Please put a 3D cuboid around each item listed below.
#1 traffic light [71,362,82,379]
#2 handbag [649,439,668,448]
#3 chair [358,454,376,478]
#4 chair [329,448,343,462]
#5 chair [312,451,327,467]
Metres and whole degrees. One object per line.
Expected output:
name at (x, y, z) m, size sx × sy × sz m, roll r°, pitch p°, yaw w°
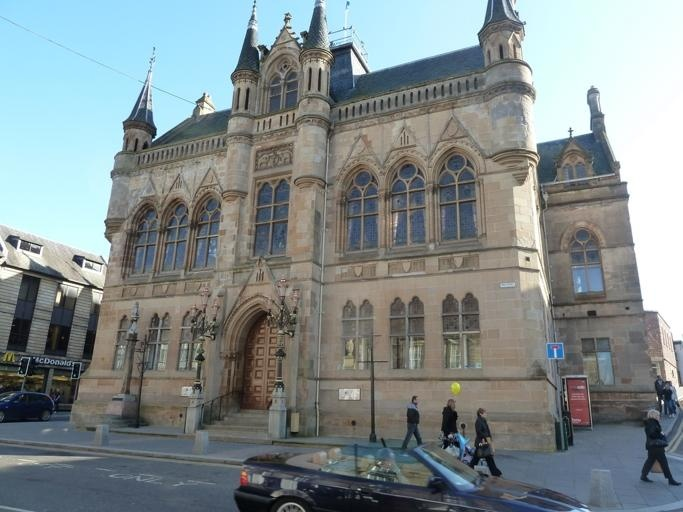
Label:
traffic light at (-25.965, 11.308, 45.056) m, size 0.645 × 1.736 × 1.431 m, roll 15°, pitch -14°, yaw -42°
handbag at (8.326, 4.899, 12.083) m, size 0.319 × 0.122 × 0.251 m, roll 2°, pitch -7°, yaw -30°
chair at (0.440, 3.636, 7.935) m, size 0.251 × 0.313 × 0.287 m, roll 0°, pitch -39°, yaw 4°
chair at (-0.100, 3.568, 8.241) m, size 0.165 × 0.195 × 0.228 m, roll 7°, pitch -10°, yaw -39°
chair at (-0.397, 3.664, 8.297) m, size 0.231 × 0.196 × 0.171 m, roll -5°, pitch -11°, yaw 38°
